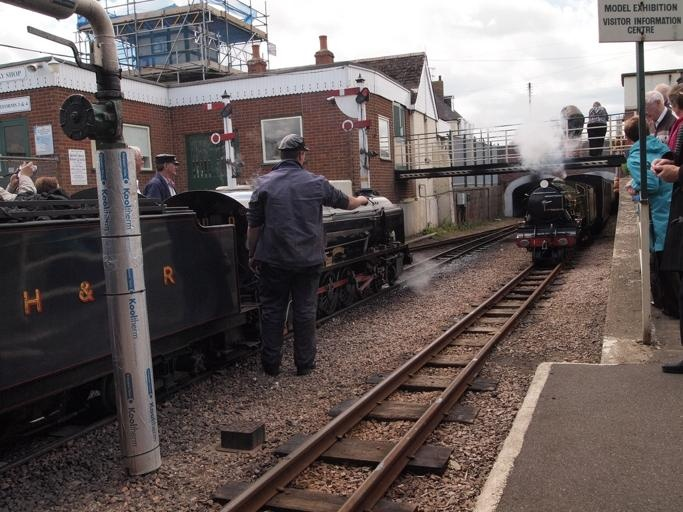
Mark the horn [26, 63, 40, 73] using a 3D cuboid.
[{"bbox_3d":[-8.255,-5.017,15.704,0.261,0.252,0.237,4,4,8],"label":"horn"}]

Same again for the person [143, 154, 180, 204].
[{"bbox_3d":[-2.546,-1.065,8.412,0.435,0.832,0.788,3,15,-5],"label":"person"}]

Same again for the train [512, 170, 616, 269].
[{"bbox_3d":[7.257,-1.440,19.278,2.183,2.484,8.871,-1,9,26],"label":"train"}]
